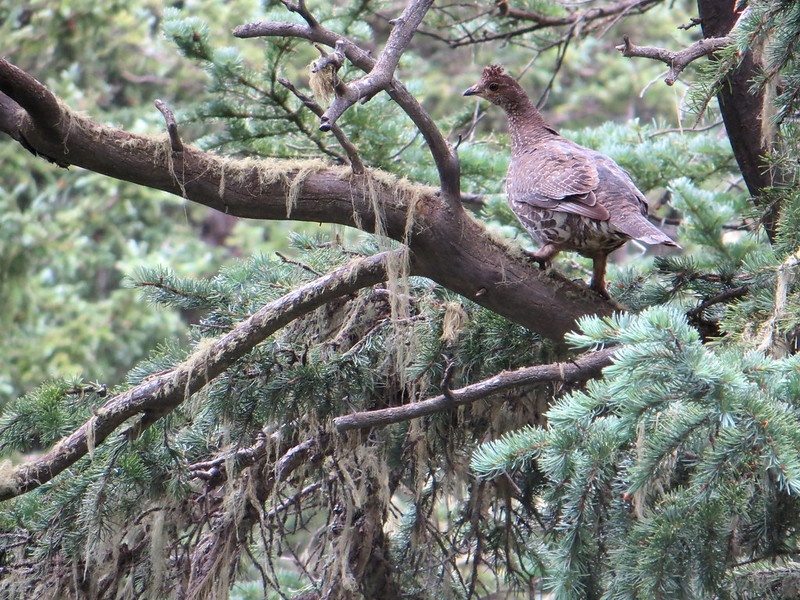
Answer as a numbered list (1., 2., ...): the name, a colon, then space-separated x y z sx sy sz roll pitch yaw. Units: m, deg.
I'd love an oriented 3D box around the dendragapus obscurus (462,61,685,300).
1. dendragapus obscurus: 1.426 -0.634 10.504 0.819 1.609 1.834 5 2 -42
